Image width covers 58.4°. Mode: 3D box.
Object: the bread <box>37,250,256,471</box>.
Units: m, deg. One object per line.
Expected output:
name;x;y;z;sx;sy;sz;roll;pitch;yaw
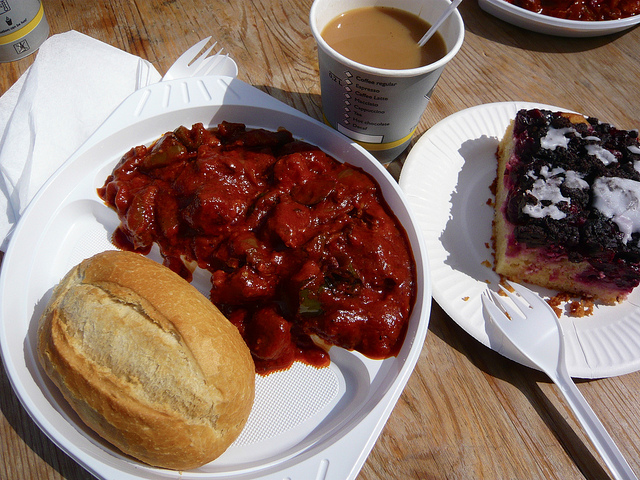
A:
bread;-0.668;0.470;2.229;0.868;0.224;0.633;34;70;10

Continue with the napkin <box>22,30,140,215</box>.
napkin;-1.185;-0.640;2.893;0.497;0.122;0.877;16;75;-4
